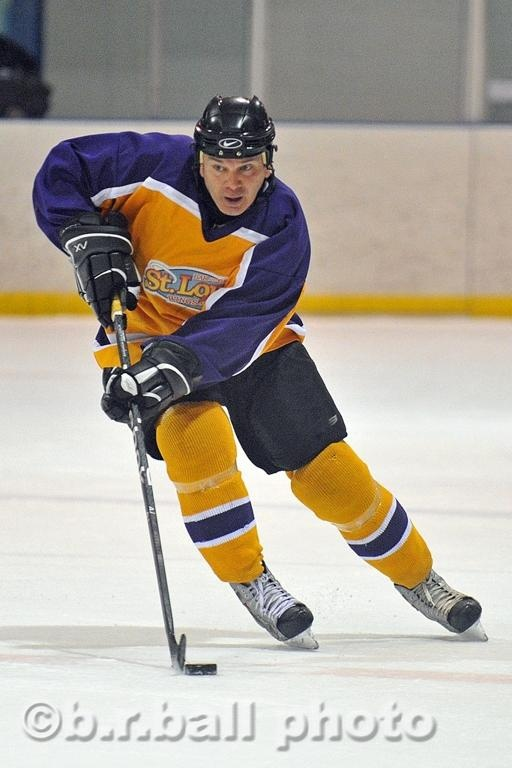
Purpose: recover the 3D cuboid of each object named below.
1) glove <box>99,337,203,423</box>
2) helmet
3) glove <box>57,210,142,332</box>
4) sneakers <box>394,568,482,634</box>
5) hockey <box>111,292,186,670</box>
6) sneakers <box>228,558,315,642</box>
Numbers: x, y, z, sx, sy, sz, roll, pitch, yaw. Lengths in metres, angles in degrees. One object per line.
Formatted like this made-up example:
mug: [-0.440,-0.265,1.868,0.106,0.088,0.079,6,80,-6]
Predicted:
glove: [-0.160,-0.004,1.334,0.123,0.046,0.083,-15,12,12]
helmet: [-0.036,-0.444,1.549,0.144,0.123,0.156,5,29,4]
glove: [-0.258,-0.200,1.580,0.139,0.196,0.092,-13,-11,19]
sneakers: [0.309,0.384,1.555,0.055,0.077,0.173,-49,16,-3]
hockey: [-0.190,0.180,1.580,0.014,0.584,0.094,-13,-8,8]
sneakers: [0.032,0.359,1.474,0.059,0.078,0.181,-38,24,-10]
